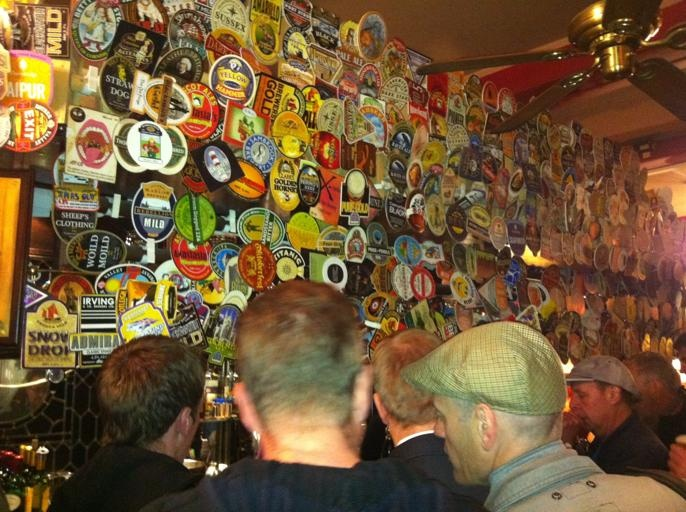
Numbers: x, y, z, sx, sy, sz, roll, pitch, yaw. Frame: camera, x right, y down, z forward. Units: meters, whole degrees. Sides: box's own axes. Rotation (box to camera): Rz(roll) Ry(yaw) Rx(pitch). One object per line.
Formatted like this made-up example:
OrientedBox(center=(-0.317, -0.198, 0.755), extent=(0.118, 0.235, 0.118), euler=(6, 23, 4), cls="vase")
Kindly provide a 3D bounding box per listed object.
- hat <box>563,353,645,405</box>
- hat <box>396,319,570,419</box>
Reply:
OrientedBox(center=(1.471, 0.671, 3.285), extent=(0.297, 0.161, 0.225), euler=(3, -24, 26), cls="hat")
OrientedBox(center=(0.481, 0.352, 1.871), extent=(0.395, 0.221, 0.271), euler=(17, 3, 19), cls="hat")
